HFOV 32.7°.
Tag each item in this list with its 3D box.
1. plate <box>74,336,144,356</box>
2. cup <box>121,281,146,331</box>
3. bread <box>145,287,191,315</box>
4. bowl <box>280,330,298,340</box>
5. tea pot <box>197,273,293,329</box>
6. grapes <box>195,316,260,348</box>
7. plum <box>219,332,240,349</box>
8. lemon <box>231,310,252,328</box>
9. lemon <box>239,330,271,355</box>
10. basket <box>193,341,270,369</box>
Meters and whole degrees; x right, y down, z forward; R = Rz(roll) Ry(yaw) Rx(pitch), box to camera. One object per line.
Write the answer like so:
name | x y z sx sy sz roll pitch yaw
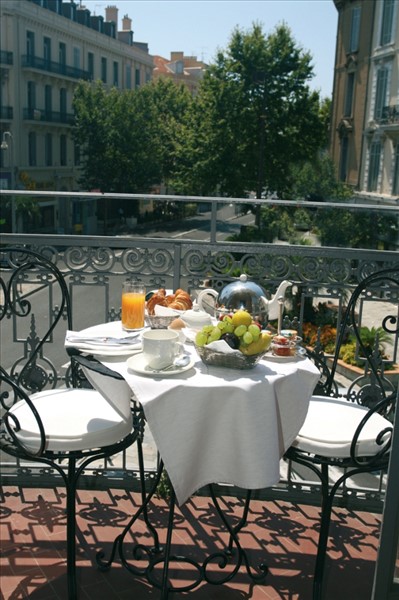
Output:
plate | -0.315 0.169 2.354 0.222 0.038 0.119 0 8 -11
cup | -0.256 0.024 2.627 0.101 0.173 0.102 1 5 0
bread | -0.133 -0.009 2.772 0.167 0.108 0.165 -6 6 -18
bowl | 0.318 0.119 2.438 0.043 0.027 0.044 1 9 0
tea pot | 0.153 -0.016 2.611 0.295 0.210 0.206 0 10 7
grapes | 0.090 0.082 2.245 0.198 0.104 0.184 -1 8 -28
plum | 0.096 0.130 2.198 0.045 0.061 0.050 9 -16 2
lemon | 0.137 0.060 2.250 0.052 0.052 0.052 38 -13 -9
lemon | 0.183 0.143 2.205 0.115 0.073 0.051 -5 10 -37
basket | 0.106 0.160 2.268 0.234 0.078 0.258 2 6 5
